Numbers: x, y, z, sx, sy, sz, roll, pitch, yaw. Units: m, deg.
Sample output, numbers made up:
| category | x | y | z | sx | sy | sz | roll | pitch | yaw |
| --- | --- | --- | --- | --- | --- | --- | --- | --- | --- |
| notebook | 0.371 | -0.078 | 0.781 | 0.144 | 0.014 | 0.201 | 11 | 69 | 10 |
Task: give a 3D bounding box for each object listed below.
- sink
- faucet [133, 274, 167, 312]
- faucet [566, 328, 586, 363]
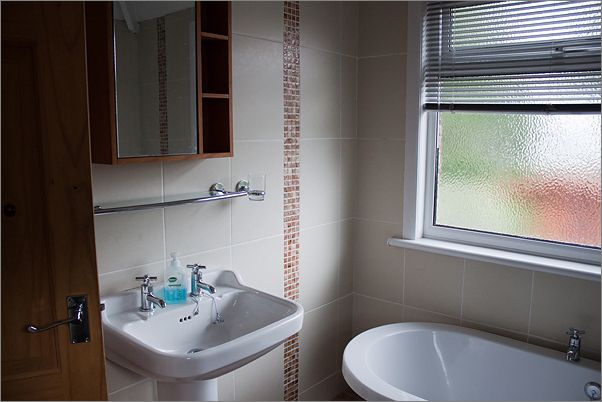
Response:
| category | x | y | z | sx | sy | sz | roll | pitch | yaw |
| --- | --- | --- | --- | --- | --- | --- | --- | --- | --- |
| sink | -0.471 | 0.613 | 2.143 | 0.888 | 0.315 | 0.583 | -7 | 9 | -35 |
| faucet | -0.760 | 0.463 | 2.196 | 0.104 | 0.174 | 0.237 | -3 | 6 | -42 |
| faucet | 1.647 | 0.852 | 2.604 | 0.084 | 0.202 | 0.129 | 4 | 10 | 33 |
